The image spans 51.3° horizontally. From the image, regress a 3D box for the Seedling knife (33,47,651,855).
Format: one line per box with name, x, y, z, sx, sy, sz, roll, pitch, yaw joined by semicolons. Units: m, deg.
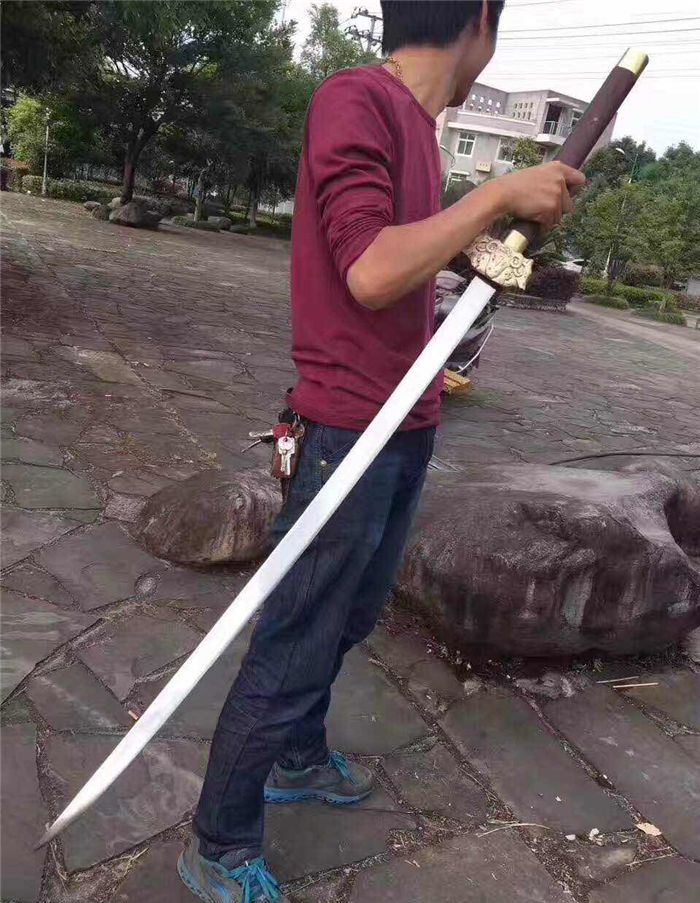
Seedling knife;0.017;-0.012;1.181;0.772;1.409;0.232;-2;21;-43
